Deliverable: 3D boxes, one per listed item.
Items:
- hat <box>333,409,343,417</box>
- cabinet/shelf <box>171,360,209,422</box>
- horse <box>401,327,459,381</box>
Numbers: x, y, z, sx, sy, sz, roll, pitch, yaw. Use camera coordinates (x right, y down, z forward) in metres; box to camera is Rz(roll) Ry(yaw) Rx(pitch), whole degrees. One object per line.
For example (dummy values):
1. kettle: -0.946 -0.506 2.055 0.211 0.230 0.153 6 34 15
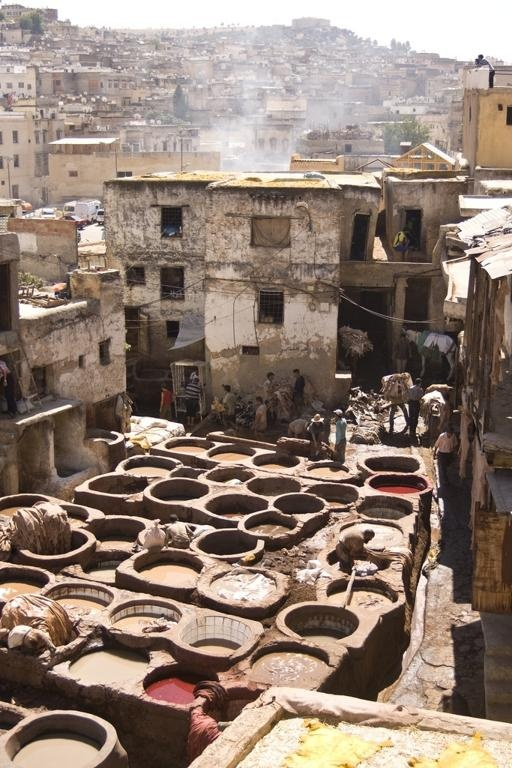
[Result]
1. hat: 2.112 0.739 18.227 0.164 0.159 0.340 -2 1 5
2. cabinet/shelf: -2.416 0.214 23.448 1.193 1.813 1.218 -1 6 0
3. horse: 5.904 -1.030 24.505 2.060 1.604 0.690 10 17 30
